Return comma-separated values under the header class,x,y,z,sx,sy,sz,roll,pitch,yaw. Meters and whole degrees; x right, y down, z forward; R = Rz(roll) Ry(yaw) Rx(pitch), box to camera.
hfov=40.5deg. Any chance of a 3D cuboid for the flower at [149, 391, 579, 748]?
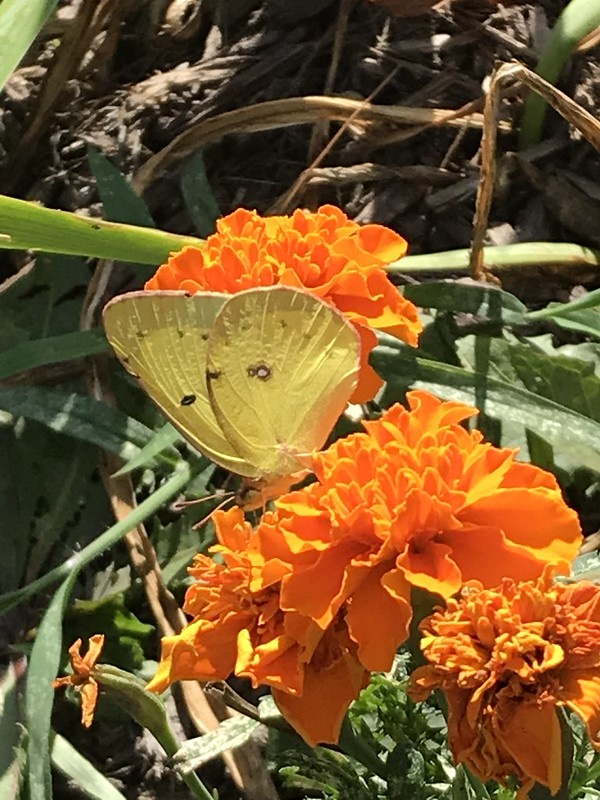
class,x,y,z,sx,sy,sz,roll,pitch,yaw
flower,0.077,0.094,0.651,0.281,0.120,0.268,-35,14,26
